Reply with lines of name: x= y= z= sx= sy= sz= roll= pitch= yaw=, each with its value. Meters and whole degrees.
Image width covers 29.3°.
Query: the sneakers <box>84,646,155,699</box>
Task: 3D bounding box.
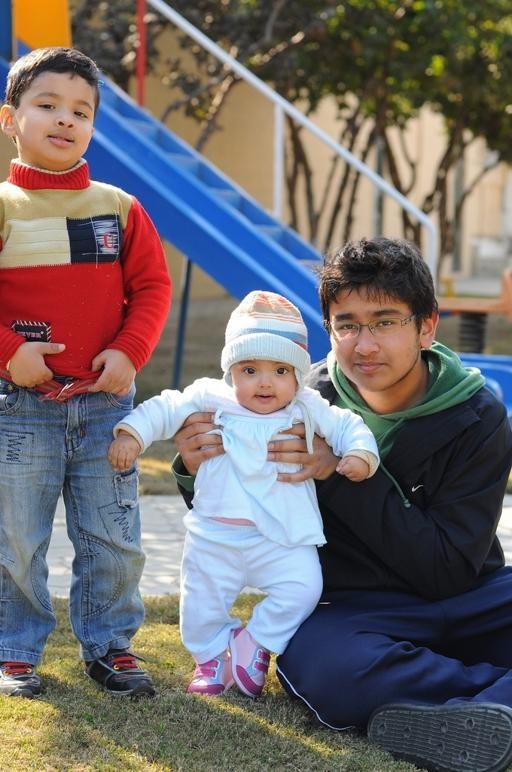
sneakers: x=-0.335 y=0.719 z=2.436 sx=0.080 sy=0.070 sz=0.181 roll=4 pitch=-8 yaw=-35

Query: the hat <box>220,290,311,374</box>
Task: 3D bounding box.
hat: x=0.005 y=-0.135 z=2.528 sx=0.223 sy=0.194 sz=0.217 roll=2 pitch=0 yaw=-9

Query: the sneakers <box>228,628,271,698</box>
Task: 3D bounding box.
sneakers: x=-0.020 y=0.687 z=2.461 sx=0.094 sy=0.171 sz=0.142 roll=1 pitch=6 yaw=-2
